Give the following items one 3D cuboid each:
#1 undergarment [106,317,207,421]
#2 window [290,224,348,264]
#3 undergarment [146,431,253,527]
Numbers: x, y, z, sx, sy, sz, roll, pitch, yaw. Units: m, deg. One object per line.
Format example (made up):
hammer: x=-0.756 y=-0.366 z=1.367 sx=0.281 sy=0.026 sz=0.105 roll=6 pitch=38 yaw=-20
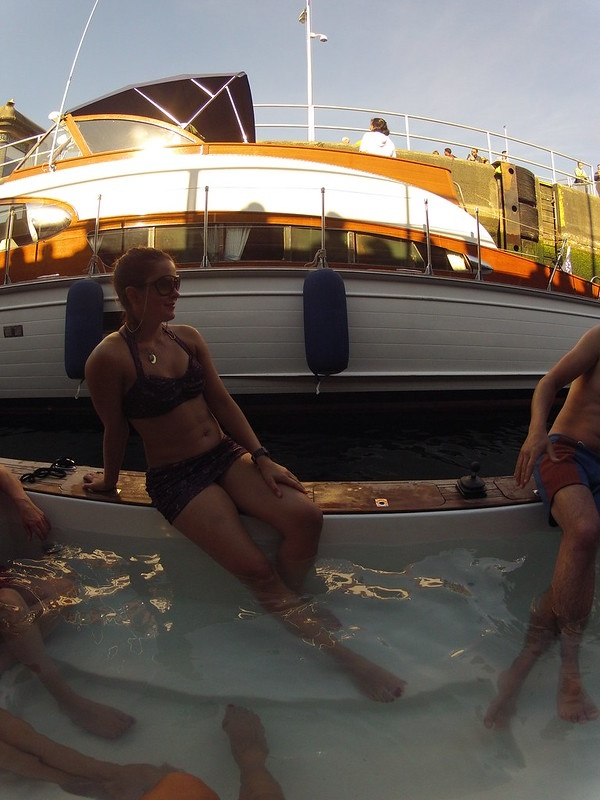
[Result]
undergarment: x=-0.426 y=-0.083 z=1.689 sx=0.169 sy=0.262 sz=0.272 roll=-8 pitch=17 yaw=43
window: x=0.142 y=-1.383 z=4.972 sx=0.520 sy=0.297 sz=0.011 roll=1 pitch=-3 yaw=-7
undergarment: x=-0.277 y=0.240 z=1.740 sx=0.285 sy=0.104 sz=0.181 roll=-38 pitch=59 yaw=-10
